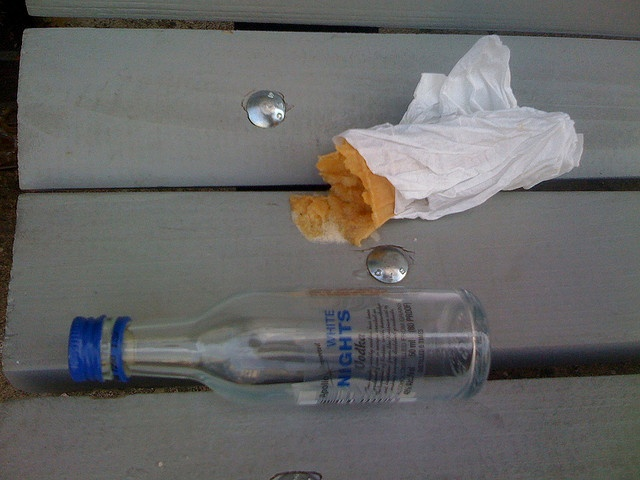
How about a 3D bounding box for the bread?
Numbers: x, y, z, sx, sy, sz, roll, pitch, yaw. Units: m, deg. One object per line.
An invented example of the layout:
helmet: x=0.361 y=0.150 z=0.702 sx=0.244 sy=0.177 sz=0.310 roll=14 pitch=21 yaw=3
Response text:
bread: x=0.232 y=-0.152 z=1.518 sx=0.524 sy=0.207 sz=0.323 roll=-20 pitch=77 yaw=2
